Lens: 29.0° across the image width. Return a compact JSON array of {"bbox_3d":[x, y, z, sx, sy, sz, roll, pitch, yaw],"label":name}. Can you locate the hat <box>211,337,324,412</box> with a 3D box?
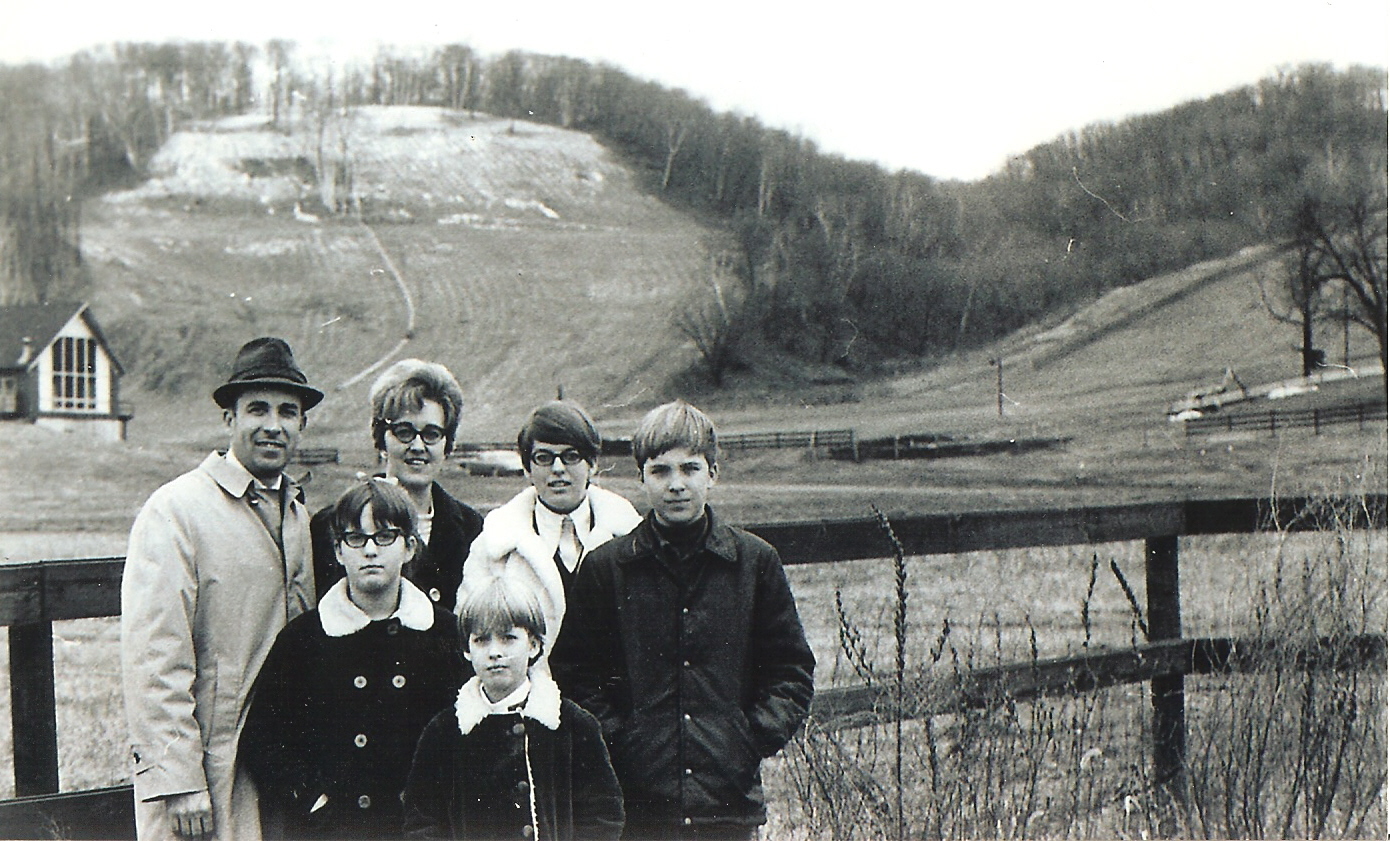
[{"bbox_3d":[-2.323,-0.227,14.427,0.705,0.373,0.937,2,-1,-21],"label":"hat"}]
